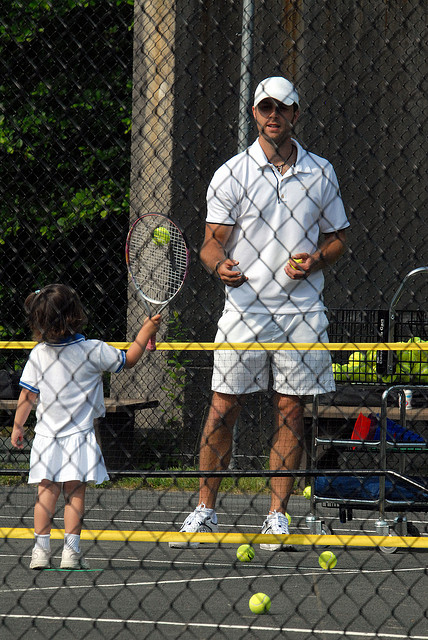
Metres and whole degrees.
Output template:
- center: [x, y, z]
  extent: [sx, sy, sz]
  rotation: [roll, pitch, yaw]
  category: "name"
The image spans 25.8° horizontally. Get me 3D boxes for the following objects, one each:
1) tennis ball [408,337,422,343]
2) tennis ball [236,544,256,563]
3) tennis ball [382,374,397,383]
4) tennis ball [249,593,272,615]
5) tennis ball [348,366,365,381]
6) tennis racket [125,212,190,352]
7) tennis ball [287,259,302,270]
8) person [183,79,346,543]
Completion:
- center: [0.970, 0.090, 4.469]
  extent: [0.042, 0.045, 0.035]
  rotation: [-8, 3, 0]
  category: "tennis ball"
- center: [0.131, 0.973, 3.912]
  extent: [0.076, 0.083, 0.207]
  rotation: [0, -2, 1]
  category: "tennis ball"
- center: [0.979, 0.324, 5.214]
  extent: [0.061, 0.065, 0.078]
  rotation: [6, -17, -10]
  category: "tennis ball"
- center: [0.170, 0.976, 3.215]
  extent: [0.068, 0.061, 0.065]
  rotation: [11, -16, 3]
  category: "tennis ball"
- center: [0.854, 0.314, 5.578]
  extent: [0.097, 0.086, 0.285]
  rotation: [-1, -3, 9]
  category: "tennis ball"
- center: [-0.251, -0.170, 4.141]
  extent: [0.286, 0.610, 0.069]
  rotation: [3, 1, 37]
  category: "tennis racket"
- center: [0.305, -0.212, 3.532]
  extent: [0.034, 0.039, 0.059]
  rotation: [1, -2, -17]
  category: "tennis ball"
- center: [0.201, -0.047, 3.745]
  extent: [0.654, 1.791, 0.703]
  rotation: [0, -2, 6]
  category: "person"
